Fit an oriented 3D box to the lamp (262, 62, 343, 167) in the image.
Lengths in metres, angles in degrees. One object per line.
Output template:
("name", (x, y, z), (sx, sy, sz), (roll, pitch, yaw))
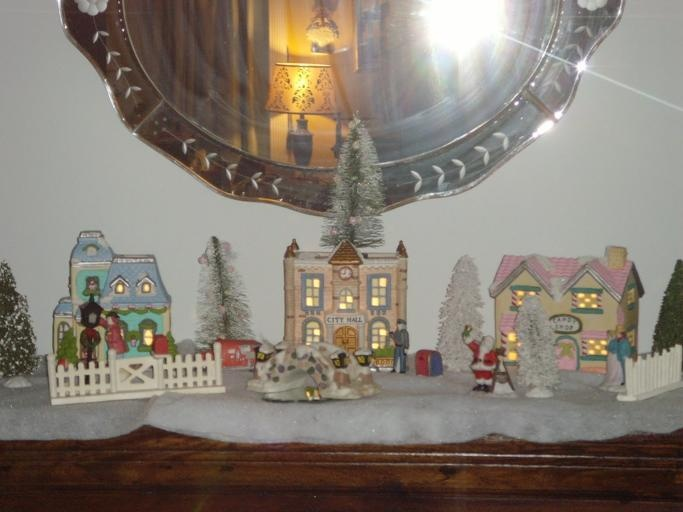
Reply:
("lamp", (-0.247, -0.832, 6.147), (0.423, 0.658, 0.442), (9, 12, 44))
